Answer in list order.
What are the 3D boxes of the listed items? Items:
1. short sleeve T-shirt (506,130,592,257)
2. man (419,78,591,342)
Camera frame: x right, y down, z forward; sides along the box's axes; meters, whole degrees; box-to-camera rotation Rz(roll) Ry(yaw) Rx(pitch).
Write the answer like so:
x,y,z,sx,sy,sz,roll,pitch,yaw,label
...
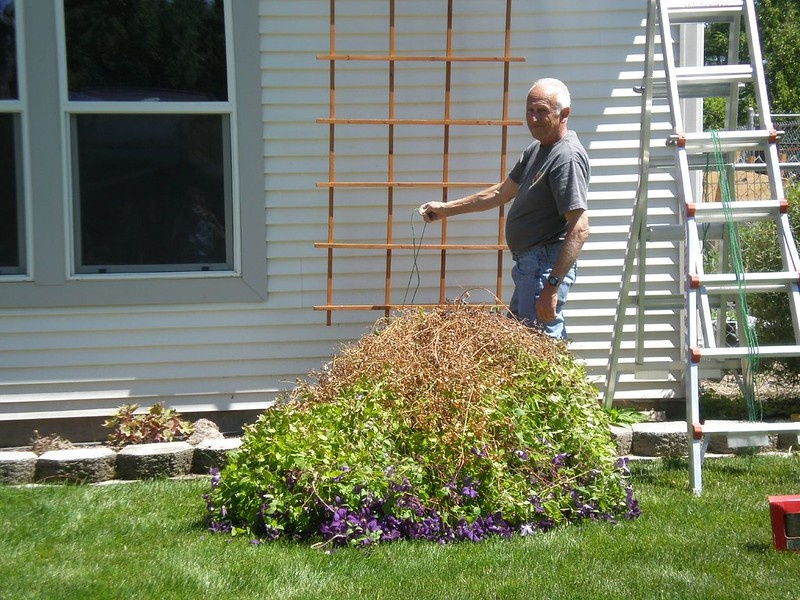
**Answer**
x,y,z,sx,sy,sz,roll,pitch,yaw,label
0.984,-0.705,7.737,0.372,0.738,0.836,8,9,-8,short sleeve T-shirt
0.882,-0.598,7.874,0.437,1.726,0.998,0,-4,-30,man
